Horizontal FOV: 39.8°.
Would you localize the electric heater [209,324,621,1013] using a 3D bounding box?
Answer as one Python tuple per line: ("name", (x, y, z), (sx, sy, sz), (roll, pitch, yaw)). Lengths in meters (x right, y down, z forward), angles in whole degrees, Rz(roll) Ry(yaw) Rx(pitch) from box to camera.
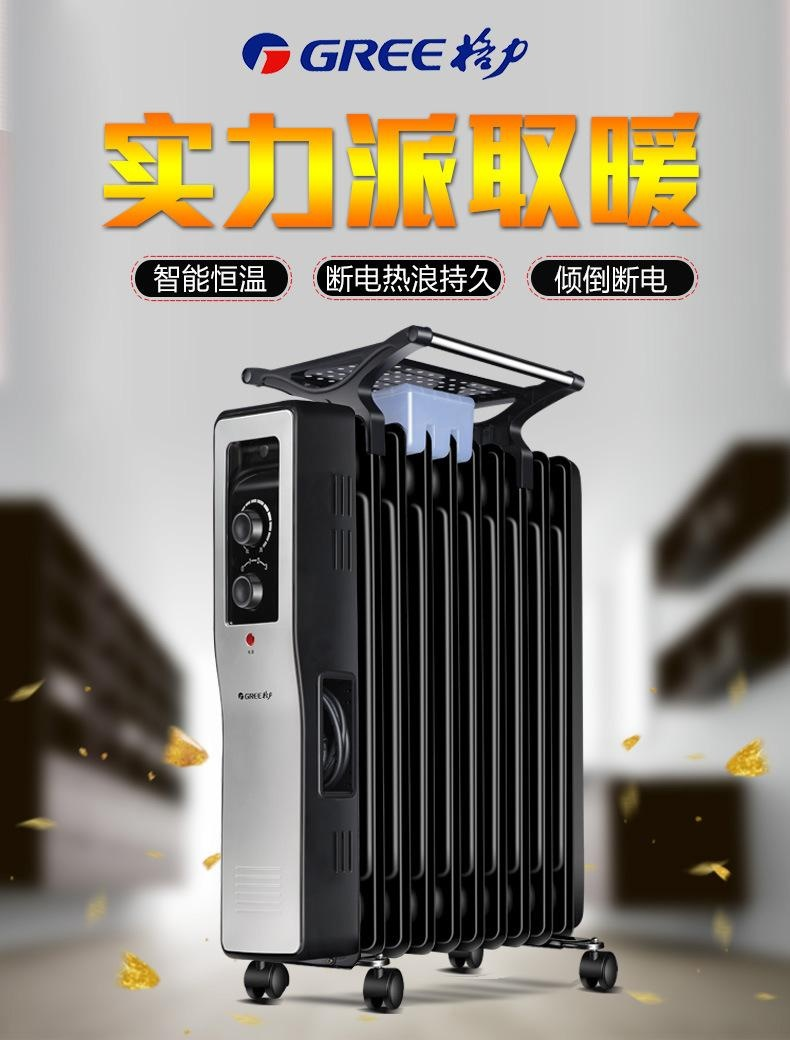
("electric heater", (0.051, 0.292, 2.087), (0.373, 1.315, 0.945), (-8, -11, 31))
